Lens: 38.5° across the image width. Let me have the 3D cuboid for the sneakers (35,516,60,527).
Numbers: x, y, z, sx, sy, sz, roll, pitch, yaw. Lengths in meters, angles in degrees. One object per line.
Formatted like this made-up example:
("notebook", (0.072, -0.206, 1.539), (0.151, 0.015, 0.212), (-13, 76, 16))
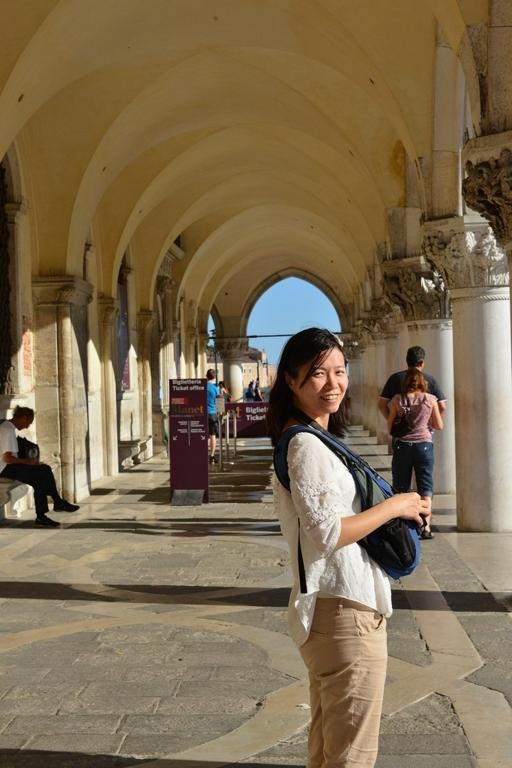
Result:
("sneakers", (-2.297, 1.501, 8.060), (0.328, 0.138, 0.111), (2, 3, 4))

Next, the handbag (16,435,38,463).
("handbag", (-2.445, 0.695, 7.861), (0.266, 0.244, 0.071), (21, 16, 27))

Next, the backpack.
("backpack", (0.177, 0.246, 1.810), (0.354, 0.416, 0.322), (-9, 5, 2))
